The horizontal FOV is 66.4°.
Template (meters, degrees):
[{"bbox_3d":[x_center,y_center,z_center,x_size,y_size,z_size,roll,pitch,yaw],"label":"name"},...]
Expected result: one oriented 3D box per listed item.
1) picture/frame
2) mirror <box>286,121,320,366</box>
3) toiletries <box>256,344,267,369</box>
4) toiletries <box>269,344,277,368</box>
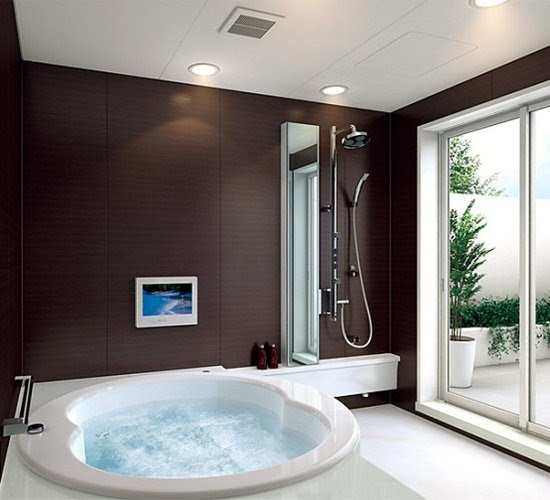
[{"bbox_3d":[-0.822,0.384,3.088,0.392,0.327,0.039,1,-4,-22],"label":"picture/frame"},{"bbox_3d":[0.157,0.140,3.395,0.062,1.495,0.259,-6,0,23],"label":"mirror"},{"bbox_3d":[-0.107,0.850,3.319,0.085,0.181,0.152,1,-3,-4],"label":"toiletries"},{"bbox_3d":[-0.017,0.848,3.367,0.086,0.173,0.168,1,-3,-1],"label":"toiletries"}]
